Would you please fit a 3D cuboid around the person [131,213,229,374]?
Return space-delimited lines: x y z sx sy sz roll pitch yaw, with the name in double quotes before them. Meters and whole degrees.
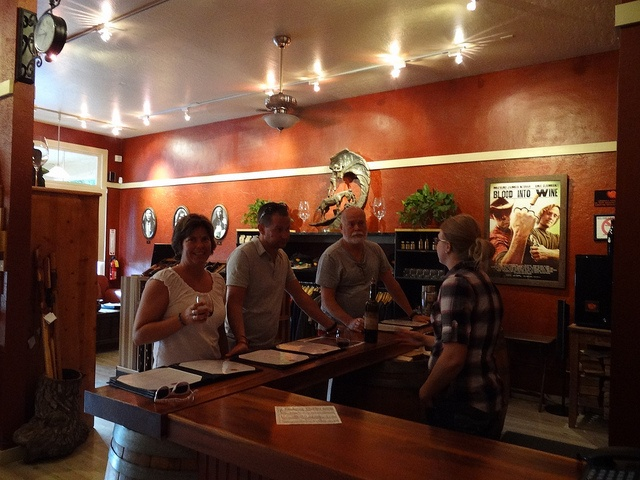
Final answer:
"person" -0.825 0.354 2.742 0.539 0.934 0.832 -3 11 -12

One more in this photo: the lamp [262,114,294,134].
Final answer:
"lamp" -0.523 -1.504 5.989 0.289 0.118 0.293 -4 -9 45

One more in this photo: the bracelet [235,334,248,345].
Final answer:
"bracelet" -0.500 0.653 3.053 0.047 0.034 0.065 1 -3 11

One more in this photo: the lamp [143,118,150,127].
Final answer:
"lamp" -3.245 -2.188 8.783 0.133 0.136 0.244 0 -1 -16

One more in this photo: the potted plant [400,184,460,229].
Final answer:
"potted plant" 1.451 -0.418 6.243 0.622 0.487 0.701 -2 4 -27

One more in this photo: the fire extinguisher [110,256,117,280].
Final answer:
"fire extinguisher" -4.477 0.627 10.175 0.189 0.517 0.161 -7 13 -31

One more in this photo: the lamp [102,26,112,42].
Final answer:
"lamp" -2.383 -2.265 5.215 0.133 0.183 0.043 1 7 -13

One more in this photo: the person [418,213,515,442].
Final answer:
"person" 0.800 0.475 2.521 0.425 1.162 0.445 5 12 23

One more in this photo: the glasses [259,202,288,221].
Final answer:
"glasses" -0.325 -0.224 3.337 0.172 0.156 0.129 -19 -8 25

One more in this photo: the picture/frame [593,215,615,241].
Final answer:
"picture/frame" 3.106 -0.132 5.130 0.027 0.329 0.282 3 0 -34

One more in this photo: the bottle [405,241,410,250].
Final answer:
"bottle" 1.171 0.078 6.246 0.078 0.150 0.081 0 -2 0

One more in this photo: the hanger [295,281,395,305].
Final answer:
"hanger" 0.265 0.460 4.062 0.565 0.140 0.101 0 0 38

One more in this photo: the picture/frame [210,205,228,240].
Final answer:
"picture/frame" -1.682 -0.293 7.899 0.082 0.771 0.671 2 -2 -42

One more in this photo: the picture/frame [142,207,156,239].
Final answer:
"picture/frame" -3.543 -0.338 9.762 0.644 0.764 0.091 0 -2 43

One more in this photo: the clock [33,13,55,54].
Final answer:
"clock" -2.311 -1.726 3.935 0.126 0.335 0.410 -8 14 -35

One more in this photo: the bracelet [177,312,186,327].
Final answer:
"bracelet" -0.783 0.449 2.652 0.017 0.060 0.064 -29 -37 1

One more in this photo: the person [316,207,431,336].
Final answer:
"person" 0.316 0.418 3.753 0.823 1.268 0.746 -13 20 -29

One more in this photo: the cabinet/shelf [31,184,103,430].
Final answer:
"cabinet/shelf" -2.349 0.474 4.482 0.597 1.947 0.315 -7 13 -31
